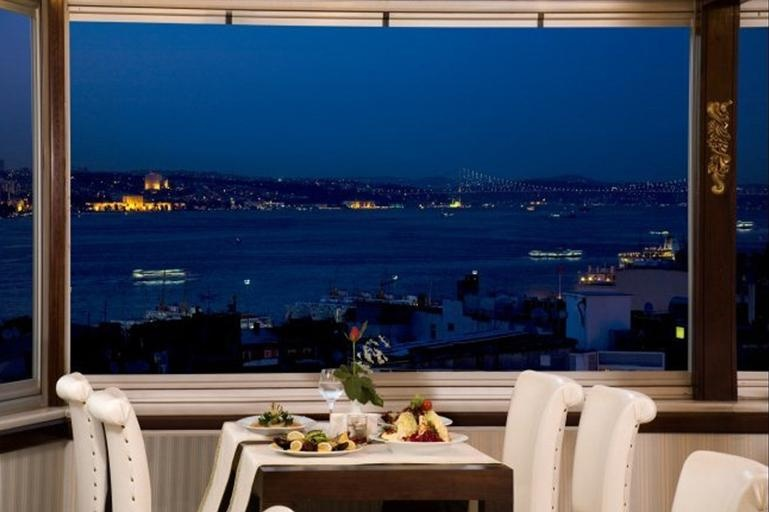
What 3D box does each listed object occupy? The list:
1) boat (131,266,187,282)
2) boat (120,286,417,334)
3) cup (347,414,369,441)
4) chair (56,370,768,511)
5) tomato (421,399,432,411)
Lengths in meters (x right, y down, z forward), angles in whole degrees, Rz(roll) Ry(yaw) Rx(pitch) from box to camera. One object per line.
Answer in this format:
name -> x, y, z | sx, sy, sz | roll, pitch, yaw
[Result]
boat -> -1.471, 0.124, 8.698 | 0.484, 0.128, 0.109 | 0, -3, -8
boat -> -0.590, 0.366, 8.693 | 1.738, 0.254, 0.239 | -2, 0, 1
cup -> -0.139, 0.951, 7.241 | 0.139, 0.145, 0.129 | 2, 1, 0
chair -> 0.098, 1.026, 7.211 | 3.699, 0.756, 1.128 | -2, 0, 10
tomato -> 0.240, 0.830, 7.275 | 0.045, 0.046, 0.059 | -1, 0, 16
